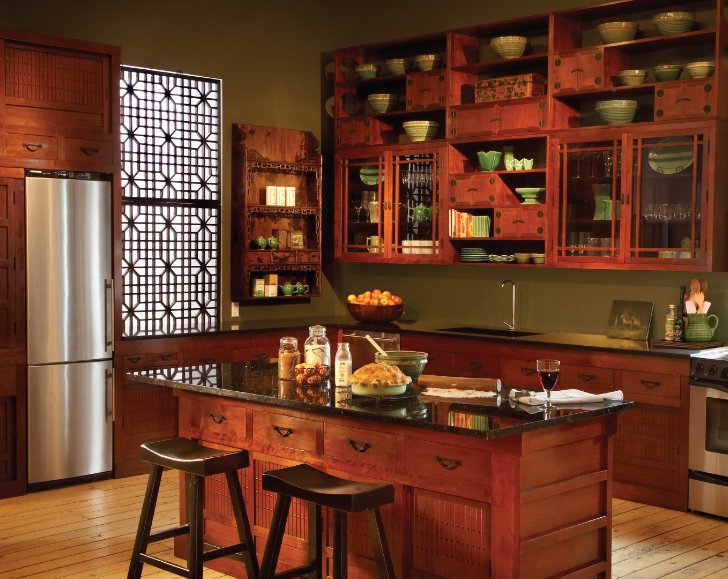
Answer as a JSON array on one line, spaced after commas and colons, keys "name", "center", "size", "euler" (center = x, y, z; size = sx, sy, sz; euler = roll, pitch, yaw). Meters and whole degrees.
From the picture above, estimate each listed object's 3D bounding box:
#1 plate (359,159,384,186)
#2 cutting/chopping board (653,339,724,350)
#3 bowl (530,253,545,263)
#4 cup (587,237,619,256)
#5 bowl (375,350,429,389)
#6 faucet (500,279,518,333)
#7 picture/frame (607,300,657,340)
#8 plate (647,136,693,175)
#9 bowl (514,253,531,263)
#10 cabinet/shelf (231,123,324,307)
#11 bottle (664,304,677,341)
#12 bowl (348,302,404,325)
[{"name": "plate", "center": [0.060, -1.148, 6.280], "size": [0.253, 0.223, 0.054], "euler": [2, -1, 29]}, {"name": "cutting/chopping board", "center": [2.329, 0.391, 4.643], "size": [0.575, 0.036, 0.398], "euler": [0, 3, 3]}, {"name": "bowl", "center": [1.426, -0.273, 5.339], "size": [0.090, 0.054, 0.085], "euler": [0, 0, 0]}, {"name": "cup", "center": [1.800, -0.332, 4.909], "size": [0.173, 0.105, 0.165], "euler": [1, 2, 0]}, {"name": "bowl", "center": [0.197, 0.391, 3.148], "size": [0.214, 0.104, 0.190], "euler": [0, 0, -6]}, {"name": "faucet", "center": [1.316, 0.130, 5.850], "size": [0.116, 0.449, 0.219], "euler": [0, 4, -12]}, {"name": "picture/frame", "center": [2.104, 0.237, 5.176], "size": [0.408, 0.309, 0.043], "euler": [3, 3, -18]}, {"name": "plate", "center": [2.159, -0.960, 4.577], "size": [0.295, 0.263, 0.022], "euler": [3, 5, 39]}, {"name": "bowl", "center": [1.346, -0.278, 5.456], "size": [0.101, 0.053, 0.090], "euler": [1, -2, -11]}, {"name": "cabinet/shelf", "center": [-0.834, -0.724, 6.345], "size": [0.893, 1.751, 0.329], "euler": [-3, 5, -40]}, {"name": "bottle", "center": [2.268, 0.245, 4.801], "size": [0.059, 0.269, 0.169], "euler": [2, 4, 21]}, {"name": "bowl", "center": [0.102, 0.225, 6.137], "size": [0.521, 0.199, 0.261], "euler": [0, 3, -1]}]
